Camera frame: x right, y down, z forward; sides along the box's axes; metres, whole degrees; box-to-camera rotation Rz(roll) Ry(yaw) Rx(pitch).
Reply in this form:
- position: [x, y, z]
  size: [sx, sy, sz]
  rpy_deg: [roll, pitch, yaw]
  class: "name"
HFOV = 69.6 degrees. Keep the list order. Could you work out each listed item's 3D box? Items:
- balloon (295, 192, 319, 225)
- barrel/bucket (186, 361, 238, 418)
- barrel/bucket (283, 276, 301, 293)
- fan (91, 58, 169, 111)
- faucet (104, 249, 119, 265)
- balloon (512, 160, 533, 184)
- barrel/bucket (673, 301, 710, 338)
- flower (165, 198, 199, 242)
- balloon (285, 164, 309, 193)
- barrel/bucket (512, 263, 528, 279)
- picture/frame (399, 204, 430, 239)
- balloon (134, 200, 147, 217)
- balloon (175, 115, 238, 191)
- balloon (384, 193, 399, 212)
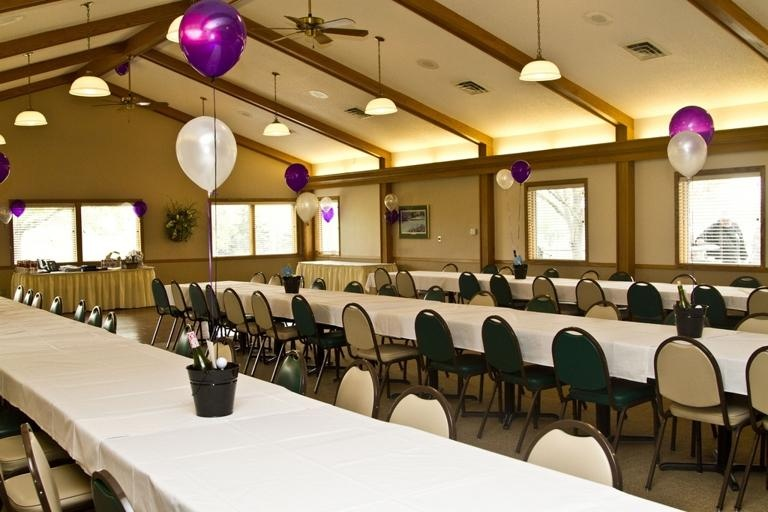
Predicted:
- position: [-1.220, -0.807, 8.877]
  size: [0.287, 0.439, 0.535]
  rpy_deg: [0, -1, 2]
  class: "balloon"
- position: [-0.980, 0.789, 3.205]
  size: [0.313, 0.239, 0.303]
  rpy_deg: [-3, -11, -1]
  class: "barrel/bucket"
- position: [-1.212, 0.368, 7.309]
  size: [0.265, 0.201, 0.229]
  rpy_deg: [0, -4, 3]
  class: "barrel/bucket"
- position: [-5.280, -3.570, 11.561]
  size: [1.594, 1.000, 1.583]
  rpy_deg: [2, 2, -16]
  class: "fan"
- position: [-6.211, 0.029, 12.596]
  size: [0.245, 0.188, 0.232]
  rpy_deg: [24, 21, -14]
  class: "faucet"
- position: [2.442, -1.561, 10.204]
  size: [0.416, 0.518, 0.425]
  rpy_deg: [7, 13, 34]
  class: "balloon"
- position: [2.454, 0.487, 4.370]
  size: [0.287, 0.273, 0.262]
  rpy_deg: [1, 0, 0]
  class: "barrel/bucket"
- position: [-5.113, -0.846, 13.968]
  size: [0.838, 1.003, 0.402]
  rpy_deg: [1, -1, -26]
  class: "flower"
- position: [-1.680, -1.533, 10.569]
  size: [0.368, 0.502, 0.430]
  rpy_deg: [1, -1, -20]
  class: "balloon"
- position: [2.225, 0.252, 9.020]
  size: [0.232, 0.218, 0.251]
  rpy_deg: [-1, -7, 0]
  class: "barrel/bucket"
- position: [0.757, -0.835, 13.248]
  size: [0.031, 0.744, 0.850]
  rpy_deg: [2, -1, -42]
  class: "picture/frame"
- position: [-5.898, -1.152, 13.390]
  size: [0.296, 0.420, 0.429]
  rpy_deg: [1, -1, -18]
  class: "balloon"
- position: [-1.168, -0.665, 3.931]
  size: [0.373, 0.473, 0.364]
  rpy_deg: [-4, 32, -38]
  class: "balloon"
- position: [0.160, -1.276, 13.247]
  size: [0.395, 0.645, 0.398]
  rpy_deg: [-4, 3, -4]
  class: "balloon"
